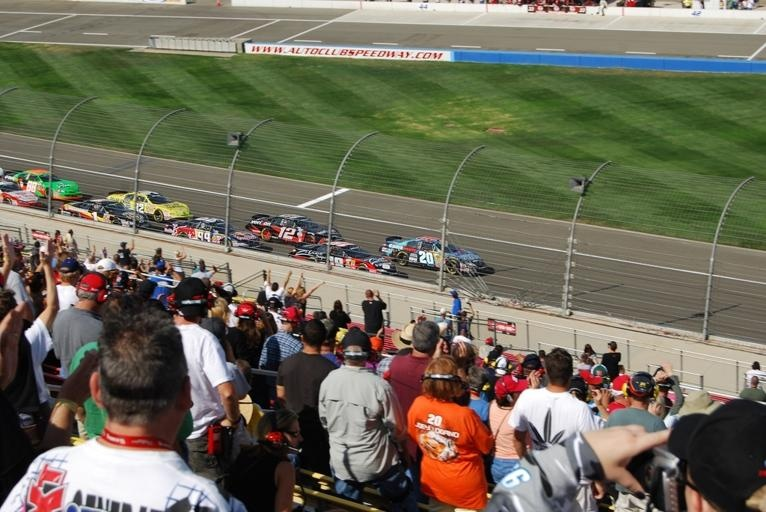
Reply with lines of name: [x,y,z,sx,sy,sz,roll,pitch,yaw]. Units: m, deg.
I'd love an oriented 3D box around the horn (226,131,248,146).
horn: [-4.444,-3.575,37.830,0.603,0.474,0.667,7,0,-6]

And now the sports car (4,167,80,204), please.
sports car: [-11.277,-2.465,40.514,2.525,0.490,1.048,15,30,22]

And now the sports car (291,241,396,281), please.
sports car: [-1.496,0.056,38.124,2.990,0.452,1.025,12,-11,-4]

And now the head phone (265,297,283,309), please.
head phone: [-2.833,1.223,32.552,0.377,0.195,0.402,17,-6,-9]

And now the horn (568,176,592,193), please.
horn: [5.695,-2.031,35.469,0.717,0.501,0.360,7,0,-9]

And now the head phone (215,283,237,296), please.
head phone: [-4.048,0.850,32.923,0.430,0.190,0.566,31,9,-2]

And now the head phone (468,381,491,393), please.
head phone: [2.062,2.808,26.387,0.453,0.196,0.353,-2,3,3]

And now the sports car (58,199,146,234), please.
sports car: [-9.030,-1.370,40.503,3.276,0.577,1.129,10,24,17]

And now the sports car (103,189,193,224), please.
sports car: [-7.512,-1.687,39.265,2.458,0.501,0.955,13,33,15]
